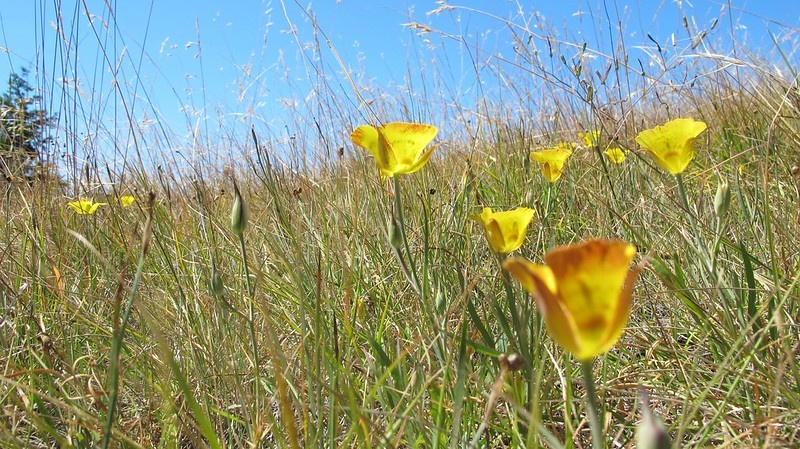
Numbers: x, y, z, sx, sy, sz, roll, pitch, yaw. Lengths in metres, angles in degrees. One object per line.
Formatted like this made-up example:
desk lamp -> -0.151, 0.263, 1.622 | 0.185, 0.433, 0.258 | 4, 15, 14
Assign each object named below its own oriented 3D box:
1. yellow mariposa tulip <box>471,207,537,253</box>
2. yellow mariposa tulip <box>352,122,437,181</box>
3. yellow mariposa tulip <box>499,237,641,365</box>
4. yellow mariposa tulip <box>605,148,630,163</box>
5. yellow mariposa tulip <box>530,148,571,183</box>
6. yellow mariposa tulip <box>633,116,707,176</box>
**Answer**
yellow mariposa tulip -> 0.508, 0.032, 2.643 | 0.302, 0.221, 0.321 | -8, 5, -4
yellow mariposa tulip -> -0.029, -0.346, 2.654 | 0.296, 0.138, 0.285 | -2, -3, 6
yellow mariposa tulip -> 0.694, 0.275, 2.079 | 0.498, 0.442, 0.571 | 5, -3, -19
yellow mariposa tulip -> 1.385, -0.441, 3.579 | 0.176, 0.083, 0.189 | -1, 1, 1
yellow mariposa tulip -> 0.915, -0.349, 3.340 | 0.186, 0.214, 0.307 | 4, 17, 29
yellow mariposa tulip -> 1.285, -0.323, 2.662 | 0.257, 0.195, 0.231 | -21, 2, -34
